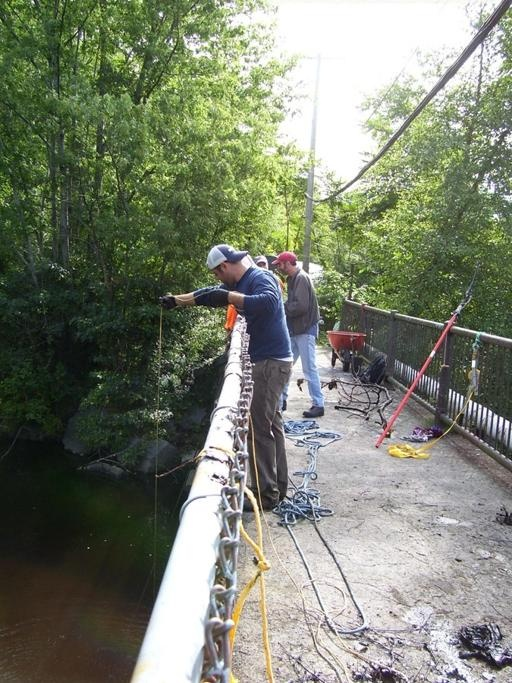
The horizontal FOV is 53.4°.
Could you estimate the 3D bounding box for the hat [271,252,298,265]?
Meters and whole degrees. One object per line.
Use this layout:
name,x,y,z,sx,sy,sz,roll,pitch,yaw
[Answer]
hat,0.349,-1.000,6.069,0.259,0.134,0.172,0,15,8

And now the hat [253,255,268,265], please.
hat,0.068,-1.063,6.804,0.208,0.186,0.339,-1,8,-2

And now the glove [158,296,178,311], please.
glove,-0.657,-0.273,3.849,0.127,0.078,0.169,-9,17,-23

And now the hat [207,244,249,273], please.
hat,-0.185,-0.568,3.439,0.242,0.127,0.153,-14,25,4

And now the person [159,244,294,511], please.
person,-0.076,0.241,3.516,0.794,1.856,0.745,2,6,41

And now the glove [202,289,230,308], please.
glove,-0.249,-0.282,3.221,0.140,0.110,0.363,-2,3,-8

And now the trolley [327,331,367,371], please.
trolley,1.683,0.108,9.412,0.539,0.551,1.048,2,-2,0

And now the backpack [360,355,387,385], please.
backpack,1.758,0.451,7.489,0.301,0.477,0.230,11,16,-1
